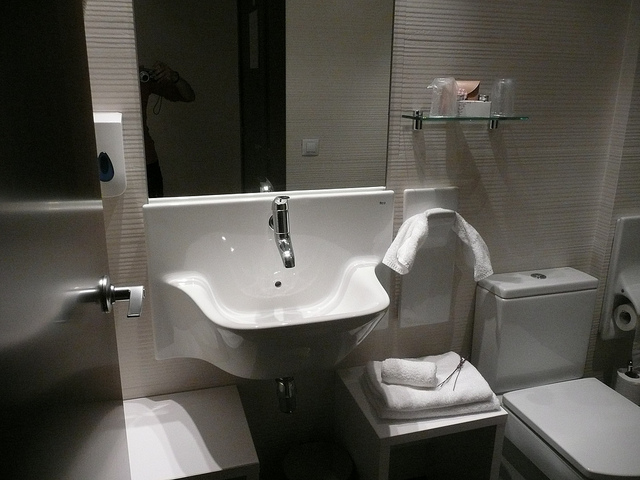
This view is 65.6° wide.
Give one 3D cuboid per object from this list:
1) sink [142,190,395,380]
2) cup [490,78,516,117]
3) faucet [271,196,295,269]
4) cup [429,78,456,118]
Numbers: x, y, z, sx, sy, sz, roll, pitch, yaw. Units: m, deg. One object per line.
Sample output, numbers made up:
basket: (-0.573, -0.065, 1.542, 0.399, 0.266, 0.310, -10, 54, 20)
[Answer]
sink: (-0.103, 0.183, 1.556, 0.825, 0.587, 0.436, -3, 21, -15)
cup: (0.647, -0.507, 1.755, 0.083, 0.132, 0.090, -4, 21, 1)
faucet: (-0.110, -0.025, 1.475, 0.060, 0.193, 0.230, -4, 27, -11)
cup: (0.405, -0.467, 1.626, 0.080, 0.123, 0.065, 1, 14, 13)
